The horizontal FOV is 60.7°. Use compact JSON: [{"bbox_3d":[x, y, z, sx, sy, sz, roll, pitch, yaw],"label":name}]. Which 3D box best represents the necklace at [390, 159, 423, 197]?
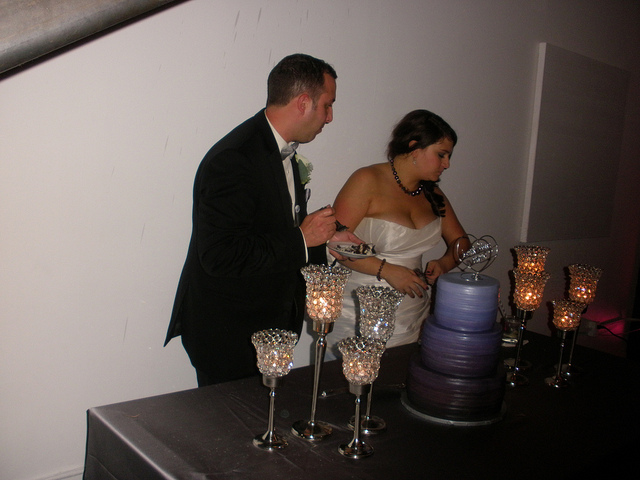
[{"bbox_3d":[0.507,-0.329,3.031,0.166,0.205,0.031,-48,19,-27],"label":"necklace"}]

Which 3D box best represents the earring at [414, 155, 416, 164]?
[{"bbox_3d":[0.519,-0.431,2.968,0.010,0.040,0.005,3,10,4],"label":"earring"}]

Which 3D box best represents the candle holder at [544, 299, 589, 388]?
[{"bbox_3d":[0.948,0.375,2.103,0.120,0.312,0.243,7,11,27],"label":"candle holder"}]

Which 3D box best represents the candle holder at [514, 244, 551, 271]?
[{"bbox_3d":[0.902,0.068,2.285,0.106,0.079,0.108,1,2,-28],"label":"candle holder"}]

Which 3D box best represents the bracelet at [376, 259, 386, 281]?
[{"bbox_3d":[0.317,0.155,2.843,0.024,0.090,0.060,19,15,15],"label":"bracelet"}]

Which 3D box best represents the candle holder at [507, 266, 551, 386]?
[{"bbox_3d":[0.799,0.287,2.154,0.151,0.488,0.178,16,19,40],"label":"candle holder"}]

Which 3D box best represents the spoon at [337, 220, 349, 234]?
[{"bbox_3d":[0.102,-0.060,2.495,0.056,0.060,0.023,-5,1,28],"label":"spoon"}]

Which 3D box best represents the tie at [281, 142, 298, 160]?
[{"bbox_3d":[-0.139,-0.393,2.469,0.072,0.038,0.052,-40,-8,33],"label":"tie"}]

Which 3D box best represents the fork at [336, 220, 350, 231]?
[{"bbox_3d":[0.104,-0.057,2.460,0.020,0.029,0.066,-9,9,-31],"label":"fork"}]

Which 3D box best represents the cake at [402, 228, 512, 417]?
[{"bbox_3d":[0.486,0.255,1.877,0.361,0.608,0.396,-1,11,-23],"label":"cake"}]
